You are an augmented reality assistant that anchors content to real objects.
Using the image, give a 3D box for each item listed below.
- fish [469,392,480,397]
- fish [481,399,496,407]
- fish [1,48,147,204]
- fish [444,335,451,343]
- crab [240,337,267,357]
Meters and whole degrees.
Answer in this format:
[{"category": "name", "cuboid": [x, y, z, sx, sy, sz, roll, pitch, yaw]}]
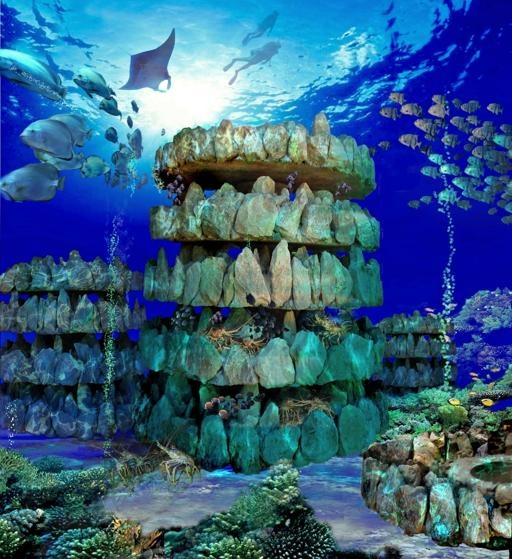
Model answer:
[{"category": "fish", "cuboid": [3.362, 1.784, 8.270, 0.084, 0.035, 0.101, 0, 1, -3]}, {"category": "fish", "cuboid": [3.437, 1.847, 7.950, 0.182, 0.092, 0.333, -36, -26, 16]}, {"category": "fish", "cuboid": [-1.996, -1.575, 5.745, 1.103, 1.369, 1.179, -3, 7, -28]}, {"category": "fish", "cuboid": [3.661, 1.148, 10.290, 0.065, 0.132, 0.134, -12, 15, -35]}, {"category": "crab", "cuboid": [-0.036, 0.892, 7.071, 0.349, 0.151, 0.341, -3, 12, 0]}]
